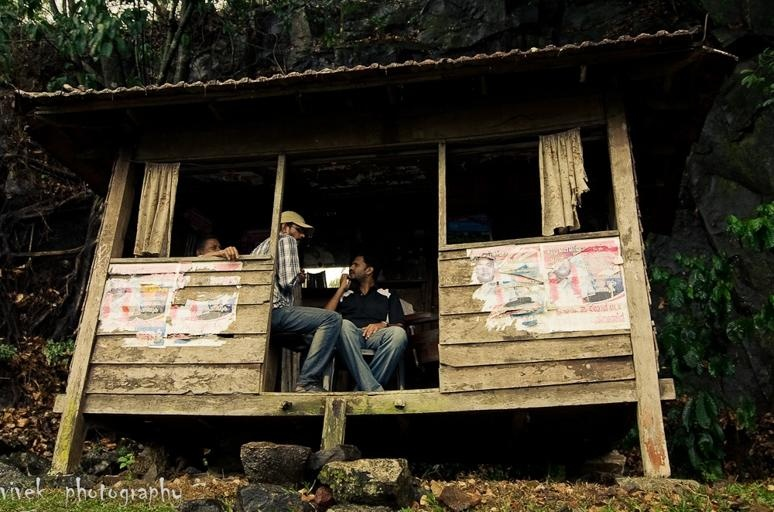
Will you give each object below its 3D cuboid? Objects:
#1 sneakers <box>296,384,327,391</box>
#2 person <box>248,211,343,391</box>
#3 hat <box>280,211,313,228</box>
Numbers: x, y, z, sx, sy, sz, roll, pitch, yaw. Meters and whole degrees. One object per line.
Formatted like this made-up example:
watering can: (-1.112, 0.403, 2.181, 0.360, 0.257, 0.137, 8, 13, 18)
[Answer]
sneakers: (-1.155, 2.049, 9.679, 0.470, 0.176, 0.161, 0, -9, -6)
person: (-1.421, 0.656, 10.119, 1.387, 2.984, 0.641, 2, -11, -5)
hat: (-1.540, -0.632, 10.619, 0.451, 0.198, 0.291, 6, -6, -12)
